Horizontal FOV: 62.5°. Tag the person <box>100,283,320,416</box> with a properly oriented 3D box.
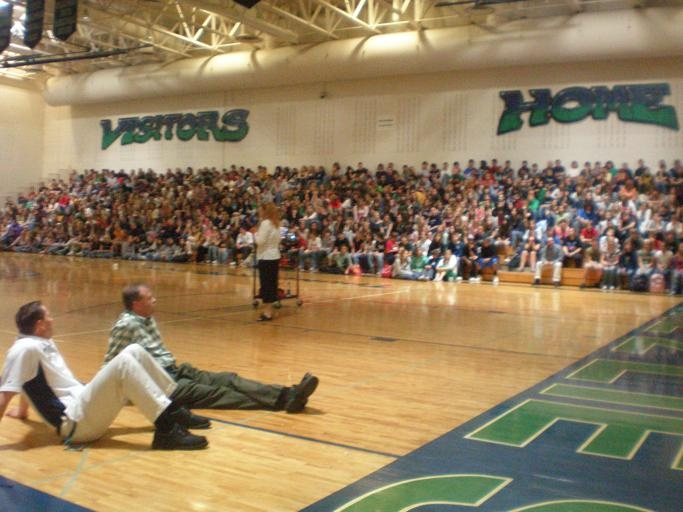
[{"bbox_3d":[-0.982,0.719,4.296,1.618,0.783,0.695,9,5,-2],"label":"person"}]

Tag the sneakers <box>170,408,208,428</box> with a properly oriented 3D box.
[{"bbox_3d":[-1.033,1.116,3.894,0.304,0.118,0.103,12,5,-6],"label":"sneakers"}]

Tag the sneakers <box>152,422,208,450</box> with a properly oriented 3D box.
[{"bbox_3d":[-1.046,1.170,3.671,0.351,0.133,0.153,1,-6,-7],"label":"sneakers"}]
